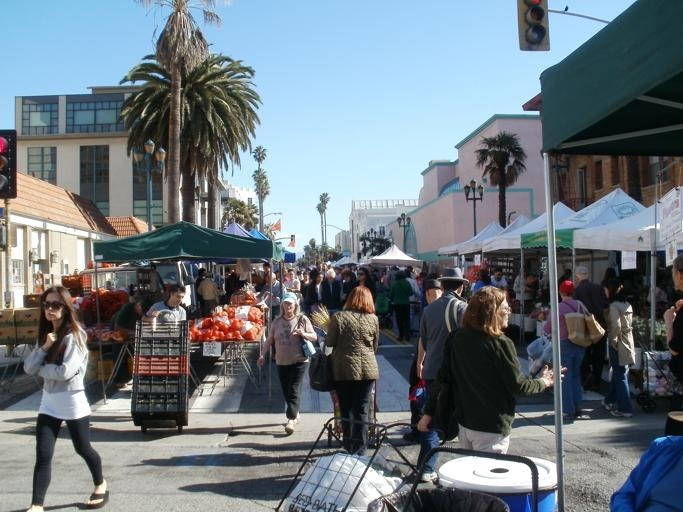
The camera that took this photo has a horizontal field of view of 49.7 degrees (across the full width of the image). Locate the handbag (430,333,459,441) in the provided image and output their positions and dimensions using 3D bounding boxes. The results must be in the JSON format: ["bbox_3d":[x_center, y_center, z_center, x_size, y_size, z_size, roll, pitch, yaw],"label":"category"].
[{"bbox_3d":[1.112,1.386,7.822,0.226,1.139,0.307,0,3,-2],"label":"handbag"}]

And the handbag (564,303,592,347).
[{"bbox_3d":[3.610,1.083,11.332,0.226,0.715,0.510,-9,-9,40],"label":"handbag"}]

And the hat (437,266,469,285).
[{"bbox_3d":[1.925,0.332,12.679,0.615,0.325,0.765,1,0,5],"label":"hat"}]

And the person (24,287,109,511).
[{"bbox_3d":[-3.164,1.628,8.483,0.871,2.576,0.561,-2,3,-26],"label":"person"}]

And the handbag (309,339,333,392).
[{"bbox_3d":[-0.296,1.497,9.843,0.294,0.713,0.528,-1,3,-18],"label":"handbag"}]

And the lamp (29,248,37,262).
[{"bbox_3d":[-12.041,-0.035,28.870,0.238,0.544,1.071,-1,3,-19],"label":"lamp"}]

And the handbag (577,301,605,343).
[{"bbox_3d":[3.863,1.038,11.513,0.239,0.686,0.445,-19,-11,25],"label":"handbag"}]

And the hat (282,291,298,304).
[{"bbox_3d":[-0.860,0.683,12.055,0.302,0.198,0.504,0,-4,-2],"label":"hat"}]

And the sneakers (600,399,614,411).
[{"bbox_3d":[4.286,2.421,11.979,0.080,0.199,0.265,1,14,-2],"label":"sneakers"}]
